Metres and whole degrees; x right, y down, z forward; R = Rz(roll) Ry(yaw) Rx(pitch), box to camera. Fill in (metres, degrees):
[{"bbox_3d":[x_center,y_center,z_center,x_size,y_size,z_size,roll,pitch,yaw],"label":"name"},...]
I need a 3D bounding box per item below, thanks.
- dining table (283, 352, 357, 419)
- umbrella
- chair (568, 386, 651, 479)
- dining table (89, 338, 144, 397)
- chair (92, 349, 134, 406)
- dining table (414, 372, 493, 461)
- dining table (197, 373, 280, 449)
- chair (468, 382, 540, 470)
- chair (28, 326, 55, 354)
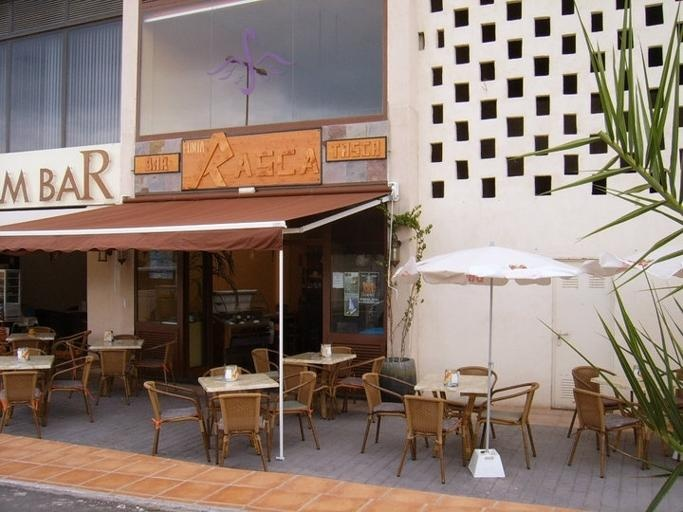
[{"bbox_3d":[-0.403,2.133,10.854,1.138,1.049,1.116,-1,-2,15],"label":"dining table"},{"bbox_3d":[2.013,1.287,9.351,2.881,2.802,2.839,1,-2,11],"label":"umbrella"},{"bbox_3d":[3.456,2.219,8.574,0.743,0.936,0.806,-3,0,-16],"label":"chair"},{"bbox_3d":[-4.057,1.873,12.120,1.226,1.096,1.062,0,3,-3],"label":"dining table"},{"bbox_3d":[-4.187,2.139,12.157,0.590,1.018,1.412,-1,3,-18],"label":"chair"},{"bbox_3d":[1.546,2.105,9.166,1.369,0.973,1.113,-1,-4,9],"label":"dining table"},{"bbox_3d":[-1.464,2.190,9.152,1.106,0.646,1.079,0,0,-8],"label":"dining table"},{"bbox_3d":[2.247,2.430,9.539,1.132,1.489,1.259,1,-3,13],"label":"chair"},{"bbox_3d":[-6.010,1.698,13.182,0.564,0.653,0.489,1,-3,-9],"label":"chair"}]
